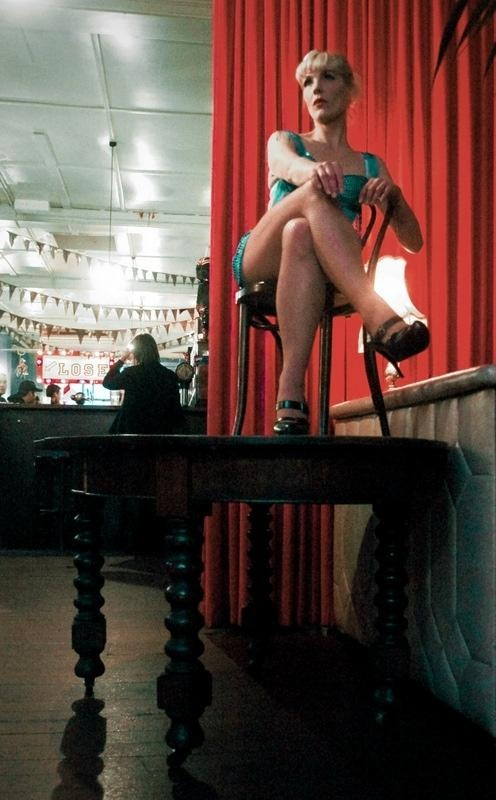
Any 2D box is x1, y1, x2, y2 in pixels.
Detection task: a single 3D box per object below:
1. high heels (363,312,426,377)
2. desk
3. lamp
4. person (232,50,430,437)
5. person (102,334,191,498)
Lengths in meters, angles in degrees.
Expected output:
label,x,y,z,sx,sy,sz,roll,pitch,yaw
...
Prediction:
label,x,y,z,sx,sy,sz,roll,pitch,yaw
high heels,0.251,-0.110,1.292,0.095,0.098,0.056,-12,5,43
desk,-0.024,0.364,1.478,0.761,0.537,0.763,5,-8,-36
lamp,0.438,-0.266,2.250,0.190,0.319,0.228,-8,8,13
person,0.144,-0.340,1.523,0.423,0.830,0.484,0,-5,11
person,-0.512,0.056,3.598,0.382,0.761,0.260,-1,21,-15
